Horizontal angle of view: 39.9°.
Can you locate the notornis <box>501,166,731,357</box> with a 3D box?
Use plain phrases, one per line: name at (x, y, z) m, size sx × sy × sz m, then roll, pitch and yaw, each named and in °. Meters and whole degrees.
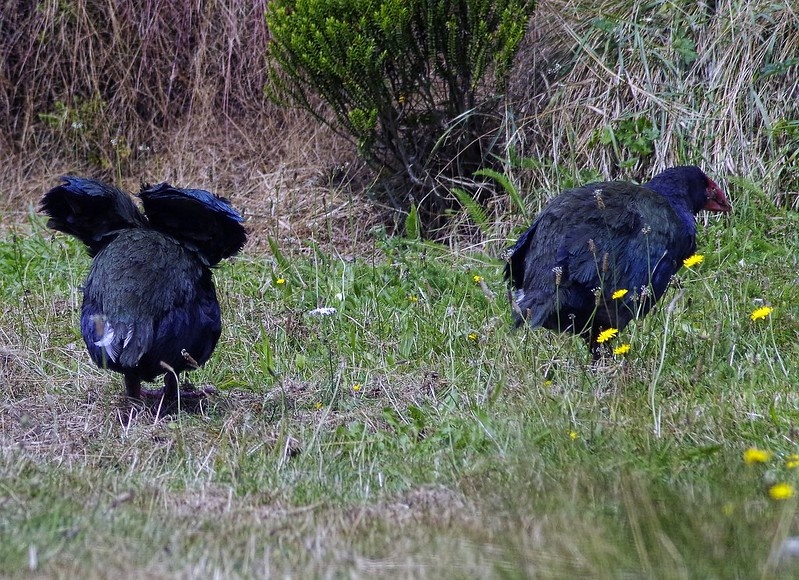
notornis at (1.197, -0.141, 6.189) m, size 1.472 × 1.131 × 0.765 m, roll 0°, pitch 3°, yaw -24°
